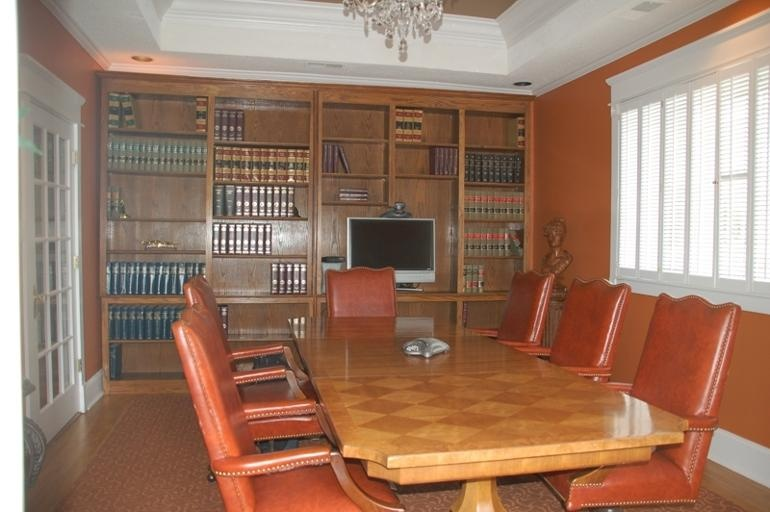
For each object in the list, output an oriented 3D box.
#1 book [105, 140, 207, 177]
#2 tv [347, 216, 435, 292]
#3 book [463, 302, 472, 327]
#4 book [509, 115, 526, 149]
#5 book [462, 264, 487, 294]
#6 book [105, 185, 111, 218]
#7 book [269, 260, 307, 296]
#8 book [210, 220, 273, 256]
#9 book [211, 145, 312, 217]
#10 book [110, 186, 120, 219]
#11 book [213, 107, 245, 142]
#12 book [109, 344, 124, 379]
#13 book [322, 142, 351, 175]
[{"bbox_3d":[-2.219,-0.974,5.613,0.880,0.315,0.174,0,9,-4],"label":"book"},{"bbox_3d":[0.031,-0.037,5.724,0.769,0.571,0.102,0,0,-8],"label":"tv"},{"bbox_3d":[0.873,0.615,6.182,0.049,0.214,0.217,5,-24,10],"label":"book"},{"bbox_3d":[1.462,-1.357,6.364,0.126,0.365,0.362,-2,6,-12],"label":"book"},{"bbox_3d":[0.942,0.253,6.220,0.250,0.342,0.344,1,-3,3],"label":"book"},{"bbox_3d":[-2.659,-0.514,5.535,0.050,0.294,0.153,-3,10,-20],"label":"book"},{"bbox_3d":[-0.985,0.228,6.009,0.497,0.429,0.271,0,0,-6],"label":"book"},{"bbox_3d":[-1.456,-0.173,5.830,0.566,0.309,0.118,-2,10,-14],"label":"book"},{"bbox_3d":[-1.296,-0.771,5.825,0.731,0.629,0.236,0,0,-14],"label":"book"},{"bbox_3d":[-2.649,-0.524,5.633,0.097,0.304,0.329,-4,10,-23],"label":"book"},{"bbox_3d":[-1.574,-1.267,5.853,0.374,0.365,0.273,-1,2,-20],"label":"book"},{"bbox_3d":[-2.622,1.024,5.590,0.061,0.266,0.194,1,0,-16],"label":"book"},{"bbox_3d":[-0.499,-0.952,6.082,0.293,0.412,0.423,-1,4,8],"label":"book"}]
